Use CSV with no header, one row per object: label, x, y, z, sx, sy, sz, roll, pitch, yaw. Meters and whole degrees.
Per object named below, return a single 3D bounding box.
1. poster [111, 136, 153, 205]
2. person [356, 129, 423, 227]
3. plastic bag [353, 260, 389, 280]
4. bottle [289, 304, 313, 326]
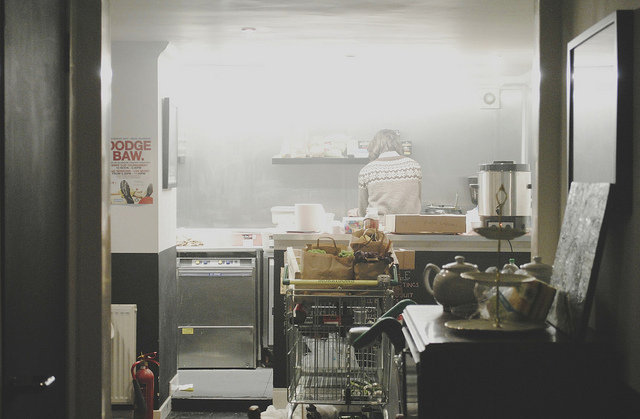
poster,-1.524,-0.317,5.380,0.328,0.549,0.096,-1,7,1
person,0.587,-0.288,5.677,0.525,0.782,0.900,-1,6,6
plastic bag,0.316,0.383,4.153,0.189,0.066,0.109,-1,-8,-6
bottle,-0.123,0.651,4.085,0.052,0.086,0.192,-17,4,10
